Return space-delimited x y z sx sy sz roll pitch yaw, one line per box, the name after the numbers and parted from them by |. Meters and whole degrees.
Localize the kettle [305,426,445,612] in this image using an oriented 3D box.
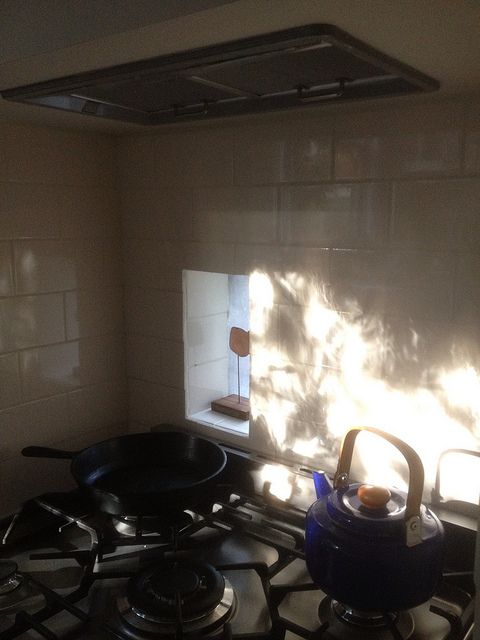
0.184 0.279 0.795 0.176 0.243 0.252 6 1 -19 | kettle
